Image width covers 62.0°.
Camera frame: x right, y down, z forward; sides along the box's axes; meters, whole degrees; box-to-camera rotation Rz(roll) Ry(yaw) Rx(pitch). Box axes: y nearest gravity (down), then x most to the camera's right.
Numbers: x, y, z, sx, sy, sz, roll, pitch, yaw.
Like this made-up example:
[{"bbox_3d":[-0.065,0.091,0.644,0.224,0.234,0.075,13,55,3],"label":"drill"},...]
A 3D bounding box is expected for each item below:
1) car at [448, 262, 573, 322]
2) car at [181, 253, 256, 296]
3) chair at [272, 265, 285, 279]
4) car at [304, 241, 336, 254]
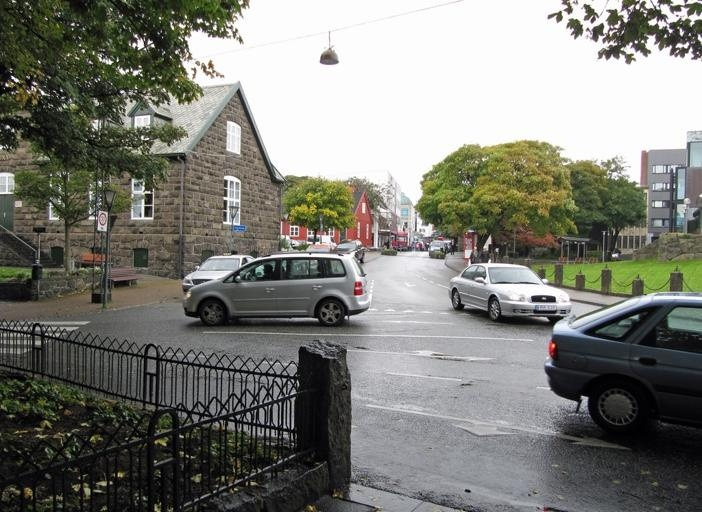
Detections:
[{"bbox_3d":[4.731,1.037,17.829,1.649,1.572,3.959,0,3,-19],"label":"car"},{"bbox_3d":[-4.589,0.635,20.536,1.287,1.361,2.879,-2,-2,13],"label":"car"},{"bbox_3d":[-1.877,0.411,15.371,0.250,0.514,0.273,0,3,-20],"label":"chair"},{"bbox_3d":[-1.887,-0.575,37.486,1.021,0.907,1.683,3,12,10],"label":"car"}]
